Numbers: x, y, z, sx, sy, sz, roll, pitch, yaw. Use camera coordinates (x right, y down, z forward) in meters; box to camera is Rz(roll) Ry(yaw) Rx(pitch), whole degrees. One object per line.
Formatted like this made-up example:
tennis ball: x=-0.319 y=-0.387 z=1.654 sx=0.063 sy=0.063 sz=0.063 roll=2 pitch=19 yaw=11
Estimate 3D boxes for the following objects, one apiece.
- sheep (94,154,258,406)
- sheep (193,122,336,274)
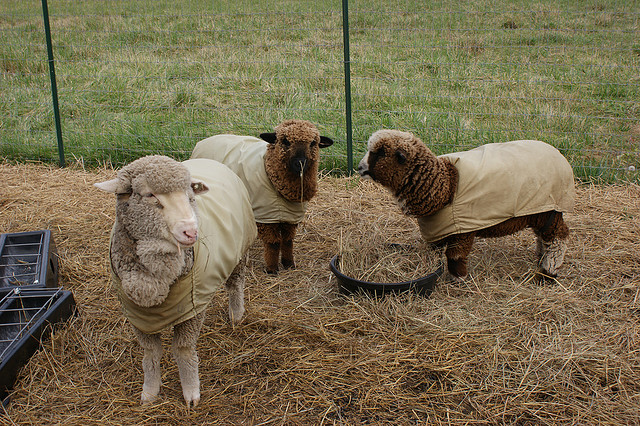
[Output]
sheep: x=-1.575 y=0.719 z=8.968 sx=0.893 sy=2.793 sz=1.547 roll=13 pitch=19 yaw=38
sheep: x=-0.825 y=-0.249 z=10.742 sx=1.005 sy=2.094 sz=2.861 roll=-11 pitch=16 yaw=-34
